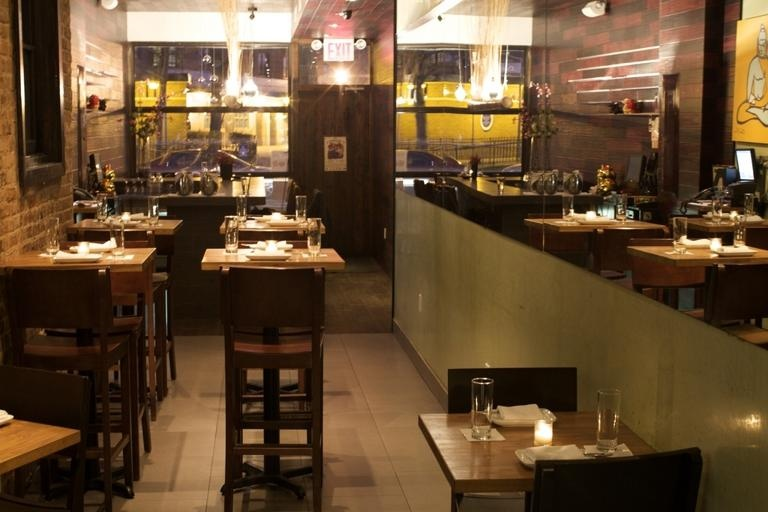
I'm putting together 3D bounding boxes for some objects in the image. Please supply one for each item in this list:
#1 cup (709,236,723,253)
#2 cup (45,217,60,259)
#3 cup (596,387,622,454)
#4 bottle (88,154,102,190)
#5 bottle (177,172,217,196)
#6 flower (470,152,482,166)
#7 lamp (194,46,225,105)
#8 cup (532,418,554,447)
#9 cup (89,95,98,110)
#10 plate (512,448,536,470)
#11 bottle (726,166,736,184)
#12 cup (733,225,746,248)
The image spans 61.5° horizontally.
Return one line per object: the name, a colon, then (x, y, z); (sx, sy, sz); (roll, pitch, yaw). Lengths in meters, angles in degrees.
cup: (0.988, -0.032, 1.927); (0.039, 0.045, 0.039); (-2, 9, 0)
cup: (-2.065, -0.123, 4.011); (0.065, 0.227, 0.128); (-5, 10, -32)
cup: (0.818, 0.594, 2.367); (0.074, 0.215, 0.156); (3, 9, 19)
bottle: (-3.933, -1.124, 8.741); (0.099, 0.168, 0.748); (1, 34, -19)
bottle: (-2.106, -0.793, 7.200); (0.307, 0.166, 0.310); (0, 9, 0)
flower: (0.610, -0.645, 4.324); (0.076, 0.081, 0.075); (5, 11, 17)
lamp: (-3.127, -3.219, 11.552); (0.560, 0.978, 0.172); (0, 8, -2)
cup: (0.592, 0.655, 2.407); (0.079, 0.091, 0.080); (3, 0, 0)
cup: (-4.264, -2.223, 9.404); (0.099, 0.182, 0.128); (0, 8, -1)
plate: (0.490, 0.694, 2.258); (0.049, 0.043, 0.131); (-1, 9, -3)
bottle: (0.890, -0.206, 1.660); (0.027, 0.045, 0.035); (4, 9, 28)
cup: (1.007, -0.053, 1.834); (0.032, 0.066, 0.065); (5, 10, 29)
